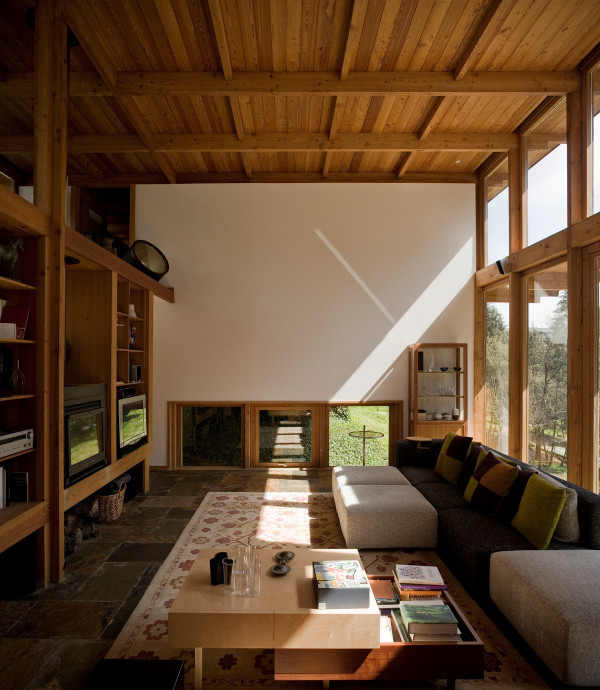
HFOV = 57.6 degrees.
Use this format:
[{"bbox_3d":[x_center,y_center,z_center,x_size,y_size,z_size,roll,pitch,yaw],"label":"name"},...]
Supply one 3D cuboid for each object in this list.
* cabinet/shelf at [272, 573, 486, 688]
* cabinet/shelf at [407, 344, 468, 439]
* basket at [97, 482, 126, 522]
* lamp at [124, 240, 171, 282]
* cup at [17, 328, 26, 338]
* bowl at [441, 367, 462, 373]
[{"bbox_3d":[0.406,1.339,2.535,0.582,0.145,0.546,-1,0,-1],"label":"cabinet/shelf"},{"bbox_3d":[1.630,0.538,6.463,0.700,1.099,0.443,-1,-3,11],"label":"cabinet/shelf"},{"bbox_3d":[-1.633,1.366,4.786,0.210,0.199,0.265,-1,-3,-2],"label":"basket"},{"bbox_3d":[-1.642,-0.920,5.952,0.195,0.423,0.479,-24,-5,21],"label":"lamp"},{"bbox_3d":[-1.777,-0.074,3.448,0.061,0.075,0.058,0,-4,0],"label":"cup"},{"bbox_3d":[1.774,0.297,6.495,0.310,0.058,0.150,0,-2,-22],"label":"bowl"}]
